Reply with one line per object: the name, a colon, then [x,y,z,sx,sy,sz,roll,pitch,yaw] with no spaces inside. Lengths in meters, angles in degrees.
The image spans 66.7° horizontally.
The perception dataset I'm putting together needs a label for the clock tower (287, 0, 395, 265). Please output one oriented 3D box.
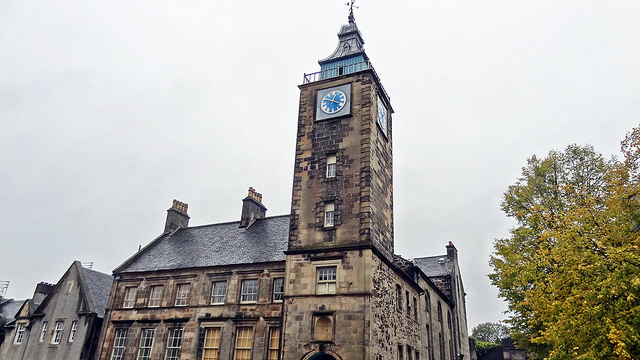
clock tower: [2.461,-6.323,50.073,9.618,27.591,6.755,2,-34,-2]
